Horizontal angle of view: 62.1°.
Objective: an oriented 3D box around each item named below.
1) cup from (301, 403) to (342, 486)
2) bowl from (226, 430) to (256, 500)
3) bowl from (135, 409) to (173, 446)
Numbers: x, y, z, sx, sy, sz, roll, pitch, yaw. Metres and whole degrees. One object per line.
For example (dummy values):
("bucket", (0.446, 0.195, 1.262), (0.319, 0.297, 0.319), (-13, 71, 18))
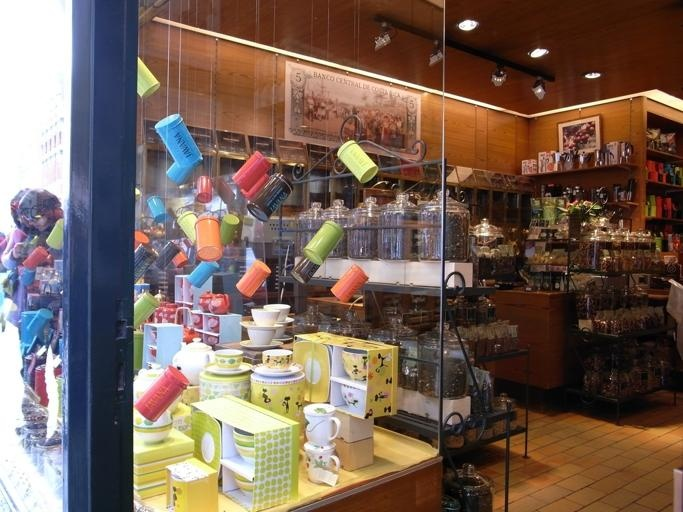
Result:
("cup", (-0.048, 0.486, 1.475), (0.102, 0.173, 0.129), (2, 2, -4))
("bowl", (-0.230, 0.481, 1.324), (0.024, 0.152, 0.086), (1, 3, -35))
("bowl", (-0.453, 0.411, 1.380), (0.081, 0.067, 0.082), (0, -5, 0))
